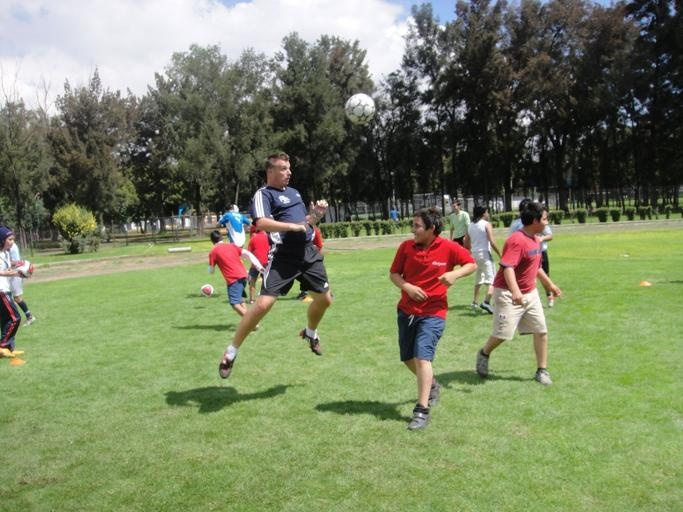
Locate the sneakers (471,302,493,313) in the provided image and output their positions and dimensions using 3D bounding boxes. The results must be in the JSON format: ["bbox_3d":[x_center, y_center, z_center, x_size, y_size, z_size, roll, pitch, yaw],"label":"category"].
[{"bbox_3d":[2.616,0.961,9.963,0.451,0.230,0.176,7,3,-6],"label":"sneakers"}]

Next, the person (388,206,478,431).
[{"bbox_3d":[0.937,0.603,5.557,0.769,2.209,0.686,-3,4,3],"label":"person"}]

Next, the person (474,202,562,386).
[{"bbox_3d":[2.239,0.429,6.533,1.068,2.184,0.761,-5,4,-24],"label":"person"}]

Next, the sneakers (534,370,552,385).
[{"bbox_3d":[2.438,1.465,6.389,0.088,0.128,0.271,-2,-9,1],"label":"sneakers"}]

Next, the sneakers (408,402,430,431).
[{"bbox_3d":[0.786,1.649,5.357,0.115,0.168,0.334,-3,-7,21],"label":"sneakers"}]

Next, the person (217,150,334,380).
[{"bbox_3d":[-0.735,0.068,6.331,1.342,2.667,1.004,-5,4,-19],"label":"person"}]

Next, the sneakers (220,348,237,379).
[{"bbox_3d":[-1.345,1.278,6.240,0.190,0.397,0.295,-4,4,-16],"label":"sneakers"}]

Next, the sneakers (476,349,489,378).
[{"bbox_3d":[1.785,1.358,6.639,0.108,0.386,0.147,0,1,13],"label":"sneakers"}]

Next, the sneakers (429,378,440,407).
[{"bbox_3d":[1.072,1.539,5.975,0.091,0.140,0.301,-4,14,19],"label":"sneakers"}]
